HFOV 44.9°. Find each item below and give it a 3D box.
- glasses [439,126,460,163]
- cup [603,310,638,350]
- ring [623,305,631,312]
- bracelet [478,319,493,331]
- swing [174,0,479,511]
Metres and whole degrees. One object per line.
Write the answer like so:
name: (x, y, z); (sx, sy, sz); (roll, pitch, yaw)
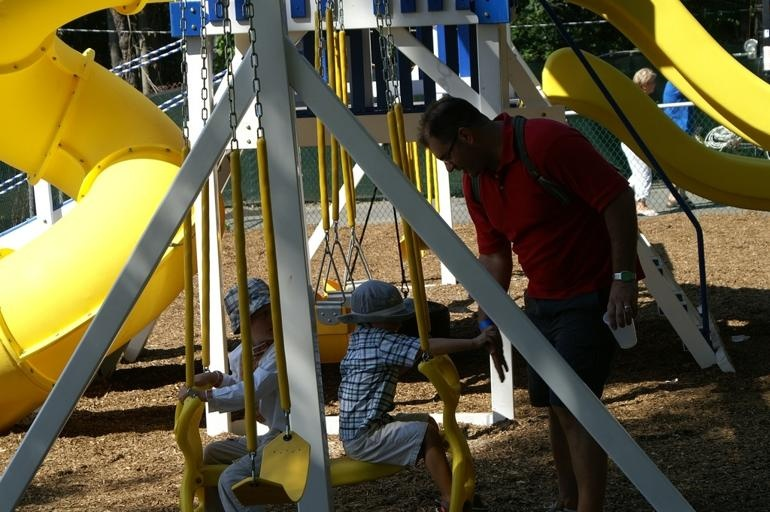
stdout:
glasses: (0.390, -0.676, 5.712); (0.045, 0.183, 0.157); (3, -2, -5)
cup: (1.388, 0.430, 5.555); (0.178, 0.224, 0.156); (-28, 17, 4)
ring: (1.415, 0.301, 5.460); (0.027, 0.033, 0.030); (-1, 1, -15)
bracelet: (0.631, 0.431, 5.948); (0.070, 0.063, 0.079); (-6, 12, 17)
swing: (-0.114, 1.016, 8.118); (2.496, 5.795, 2.010); (-4, 10, -1)
